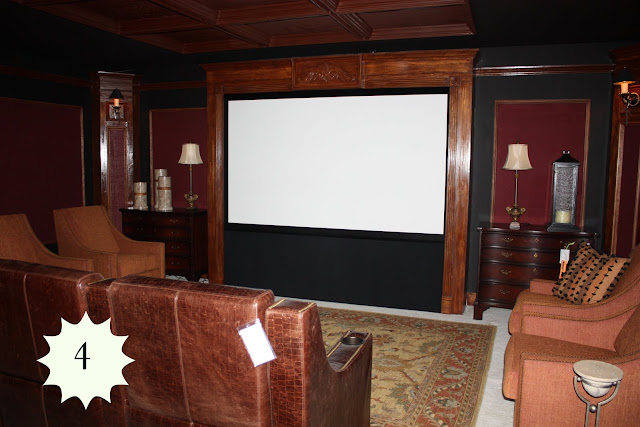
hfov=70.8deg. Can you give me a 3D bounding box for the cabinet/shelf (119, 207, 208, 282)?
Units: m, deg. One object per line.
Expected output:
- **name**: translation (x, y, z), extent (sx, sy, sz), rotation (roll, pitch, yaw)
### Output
- **cabinet/shelf**: translation (-2.162, 0.438, 6.371), extent (1.156, 0.963, 0.443), rotation (1, 2, 14)

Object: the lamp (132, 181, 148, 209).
- **lamp**: translation (-2.880, -0.280, 7.252), extent (0.336, 0.375, 0.323), rotation (-1, 3, -29)

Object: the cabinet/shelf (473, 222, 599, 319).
- **cabinet/shelf**: translation (2.588, 0.560, 6.064), extent (1.829, 1.646, 1.093), rotation (0, 4, 15)

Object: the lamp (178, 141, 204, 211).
- **lamp**: translation (-2.023, -0.593, 7.129), extent (0.313, 1.031, 0.701), rotation (-3, 12, -15)

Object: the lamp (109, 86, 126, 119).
- **lamp**: translation (-3.433, -1.848, 7.615), extent (0.254, 0.510, 0.103), rotation (-3, 12, -15)

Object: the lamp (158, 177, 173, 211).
- **lamp**: translation (-2.426, -0.323, 7.009), extent (0.222, 0.492, 0.316), rotation (-5, 13, -21)

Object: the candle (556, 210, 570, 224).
- **candle**: translation (2.932, 0.045, 5.477), extent (0.153, 0.139, 0.155), rotation (-2, 1, 25)

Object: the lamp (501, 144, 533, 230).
- **lamp**: translation (2.475, -0.361, 5.750), extent (0.319, 1.048, 0.703), rotation (5, 13, 23)
